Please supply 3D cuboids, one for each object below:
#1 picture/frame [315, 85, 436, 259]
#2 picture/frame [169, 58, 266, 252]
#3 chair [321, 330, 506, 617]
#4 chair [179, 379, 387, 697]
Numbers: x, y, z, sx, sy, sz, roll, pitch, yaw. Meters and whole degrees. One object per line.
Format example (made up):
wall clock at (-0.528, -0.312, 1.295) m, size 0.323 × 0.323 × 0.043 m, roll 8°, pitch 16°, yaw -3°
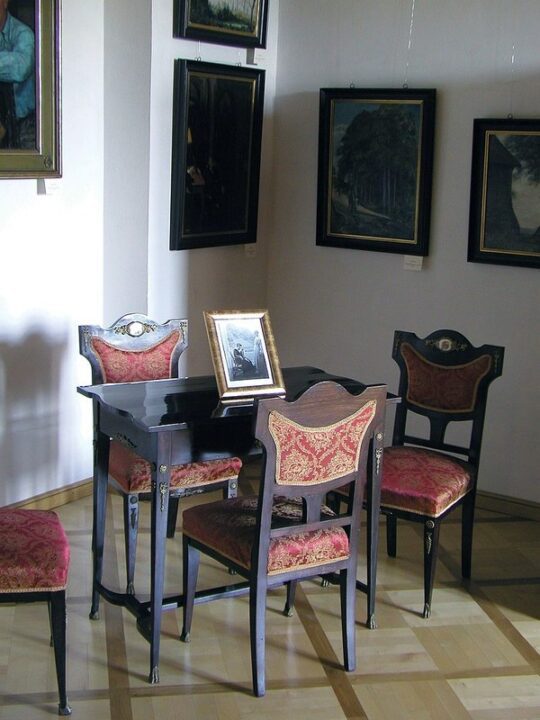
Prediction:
picture/frame at (0.619, -1.088, 3.482) m, size 0.836 × 1.152 × 0.072 m, roll 9°, pitch 16°, yaw 33°
picture/frame at (-0.262, -1.130, 3.466) m, size 0.191 × 1.057 × 0.769 m, roll 5°, pitch 6°, yaw 38°
chair at (0.608, 0.447, 2.544) m, size 0.562 × 1.103 × 0.538 m, roll -5°, pitch 10°, yaw -35°
chair at (0.017, 0.471, 1.807) m, size 0.411 × 0.871 × 0.469 m, roll -1°, pitch 5°, yaw -30°
